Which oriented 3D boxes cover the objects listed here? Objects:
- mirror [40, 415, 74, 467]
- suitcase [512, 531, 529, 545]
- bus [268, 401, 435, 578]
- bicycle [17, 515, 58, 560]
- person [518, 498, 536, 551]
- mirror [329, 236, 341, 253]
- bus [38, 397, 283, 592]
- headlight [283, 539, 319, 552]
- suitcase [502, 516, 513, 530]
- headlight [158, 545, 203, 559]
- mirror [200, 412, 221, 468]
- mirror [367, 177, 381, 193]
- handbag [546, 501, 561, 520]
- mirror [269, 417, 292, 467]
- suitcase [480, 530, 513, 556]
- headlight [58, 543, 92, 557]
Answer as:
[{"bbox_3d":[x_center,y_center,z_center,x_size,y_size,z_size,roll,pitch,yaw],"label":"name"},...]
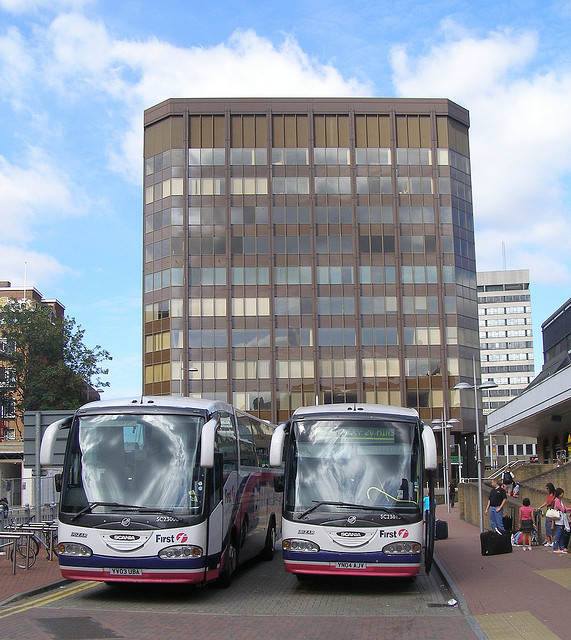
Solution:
[{"bbox_3d":[-3.497,1.817,11.114,0.461,0.761,1.149,1,-11,-17],"label":"mirror"},{"bbox_3d":[6.204,5.761,19.096,0.449,0.461,0.375,0,-10,25],"label":"suitcase"},{"bbox_3d":[1.031,2.608,11.483,1.428,2.014,4.309,-1,-17,6],"label":"bus"},{"bbox_3d":[-5.341,4.857,16.079,1.169,0.884,0.649,-3,5,6],"label":"bicycle"},{"bbox_3d":[6.161,5.171,18.473,0.359,1.254,1.467,-5,-11,17],"label":"person"},{"bbox_3d":[4.868,-7.406,70.726,1.102,1.678,0.093,-2,-9,-4],"label":"mirror"},{"bbox_3d":[-1.699,3.431,14.117,2.449,3.249,8.121,-3,-18,8],"label":"bus"},{"bbox_3d":[0.235,3.474,11.203,0.322,0.136,0.272,1,-7,6],"label":"headlight"},{"bbox_3d":[6.284,5.719,20.497,0.237,0.369,0.804,-5,-11,16],"label":"suitcase"},{"bbox_3d":[-1.443,3.205,10.087,0.327,0.125,0.269,-1,-7,-2],"label":"headlight"},{"bbox_3d":[-1.101,1.717,10.343,0.152,0.726,0.194,-13,-31,39],"label":"mirror"},{"bbox_3d":[8.795,-13.306,71.753,1.233,1.918,0.932,0,-10,0],"label":"mirror"},{"bbox_3d":[6.445,4.562,17.409,0.237,0.442,0.556,-2,-11,-1],"label":"handbag"},{"bbox_3d":[-0.007,1.977,12.284,0.182,0.799,1.460,5,6,11],"label":"mirror"},{"bbox_3d":[5.069,5.344,17.363,0.644,0.607,0.239,4,-14,-28],"label":"suitcase"},{"bbox_3d":[-2.997,3.256,10.288,0.623,0.195,0.085,-9,-11,26],"label":"headlight"}]
